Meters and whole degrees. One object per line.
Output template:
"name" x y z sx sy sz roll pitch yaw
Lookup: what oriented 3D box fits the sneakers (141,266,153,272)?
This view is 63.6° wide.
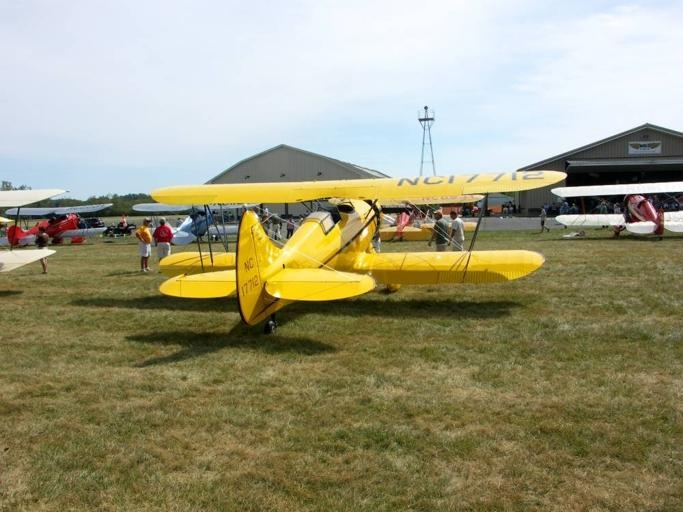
"sneakers" -5.590 0.415 15.841 0.114 0.115 0.308 2 5 16

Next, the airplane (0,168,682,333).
"airplane" -0.314 -0.330 11.230 6.947 2.576 6.564 -5 9 -24
